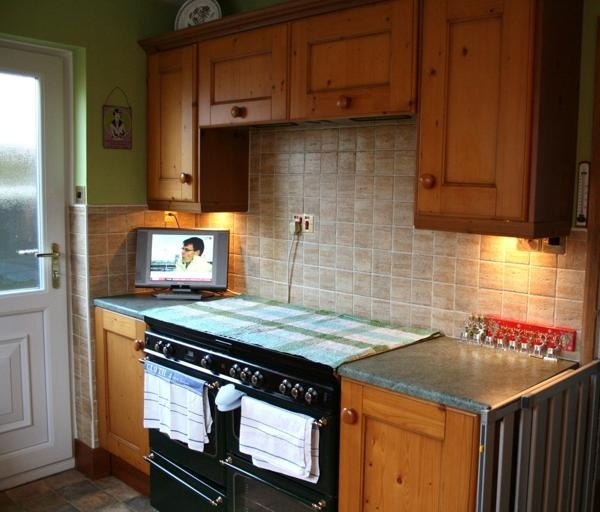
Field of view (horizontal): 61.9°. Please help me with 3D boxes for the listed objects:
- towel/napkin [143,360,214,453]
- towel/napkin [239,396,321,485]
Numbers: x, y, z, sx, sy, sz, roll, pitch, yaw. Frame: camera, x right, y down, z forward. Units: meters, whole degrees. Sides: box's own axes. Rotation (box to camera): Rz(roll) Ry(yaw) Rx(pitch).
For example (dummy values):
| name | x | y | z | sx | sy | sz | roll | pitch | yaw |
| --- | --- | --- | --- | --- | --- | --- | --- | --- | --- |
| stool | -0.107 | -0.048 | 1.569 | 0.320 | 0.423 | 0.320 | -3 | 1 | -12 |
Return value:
| name | x | y | z | sx | sy | sz | roll | pitch | yaw |
| --- | --- | --- | --- | --- | --- | --- | --- | --- | --- |
| towel/napkin | -0.567 | 0.703 | 2.387 | 0.467 | 0.337 | 0.090 | 11 | 15 | 44 |
| towel/napkin | -0.087 | 0.722 | 1.991 | 0.361 | 0.252 | 0.074 | 5 | 7 | 38 |
